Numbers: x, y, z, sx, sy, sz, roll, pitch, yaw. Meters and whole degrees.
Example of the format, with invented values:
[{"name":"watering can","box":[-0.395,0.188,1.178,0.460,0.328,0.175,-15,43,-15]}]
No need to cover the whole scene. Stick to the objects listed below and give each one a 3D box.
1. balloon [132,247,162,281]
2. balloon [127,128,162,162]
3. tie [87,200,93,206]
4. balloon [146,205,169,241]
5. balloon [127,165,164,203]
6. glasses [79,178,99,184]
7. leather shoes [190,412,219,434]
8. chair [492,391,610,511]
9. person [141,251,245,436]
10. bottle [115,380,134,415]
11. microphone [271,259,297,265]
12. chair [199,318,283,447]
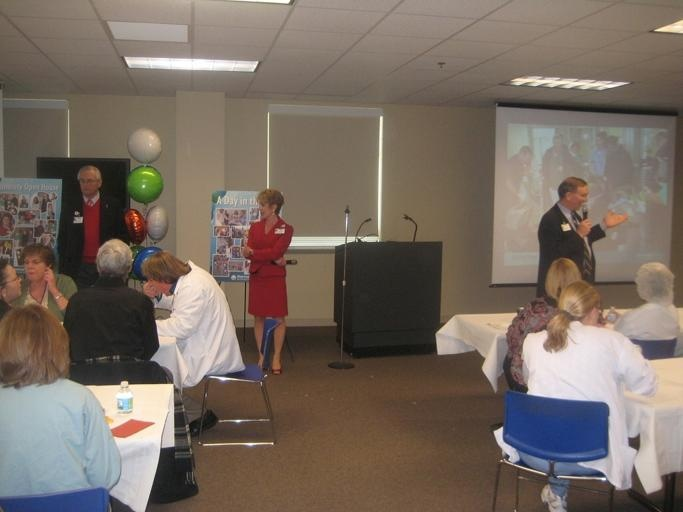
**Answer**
[{"name":"balloon","box":[-1.736,0.061,5.226,0.294,0.324,0.170,-6,-5,9]},{"name":"balloon","box":[-2.366,-1.322,7.119,0.374,0.499,0.394,-1,4,7]},{"name":"tie","box":[-2.806,-0.607,6.552,0.052,0.056,0.013,4,31,-13]},{"name":"balloon","box":[-2.262,-0.394,7.189,0.250,0.435,0.264,-2,8,-21]},{"name":"balloon","box":[-2.358,-0.860,7.056,0.421,0.517,0.418,1,27,-11]},{"name":"glasses","box":[-2.736,-0.820,6.402,0.193,0.037,0.121,-4,9,-29]},{"name":"leather shoes","box":[-1.172,1.436,5.025,0.208,0.072,0.150,-23,27,-31]},{"name":"chair","box":[1.276,1.256,3.544,0.669,0.947,0.420,4,8,27]},{"name":"person","box":[-1.179,0.728,4.665,0.726,1.564,0.619,-5,9,-34]},{"name":"bottle","box":[-1.187,0.775,3.231,0.093,0.167,0.093,-2,-2,0]},{"name":"microphone","box":[-0.583,0.060,6.560,0.401,0.071,0.076,0,3,-41]},{"name":"chair","box":[-0.855,1.009,4.965,0.605,1.007,0.566,5,5,-5]}]
